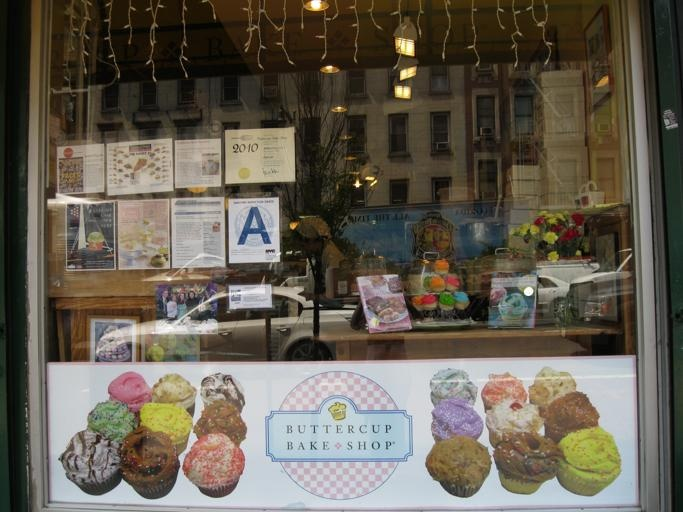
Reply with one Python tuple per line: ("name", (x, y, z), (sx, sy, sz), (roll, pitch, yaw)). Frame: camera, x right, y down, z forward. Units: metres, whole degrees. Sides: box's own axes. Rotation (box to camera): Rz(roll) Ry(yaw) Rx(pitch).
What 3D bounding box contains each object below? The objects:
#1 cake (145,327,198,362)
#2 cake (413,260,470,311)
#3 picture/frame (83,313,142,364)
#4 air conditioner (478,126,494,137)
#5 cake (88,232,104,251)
("cake", (-1.001, 0.526, 5.137), (0.243, 0.150, 0.173), (-1, 5, -2))
("cake", (0.637, 0.193, 5.492), (0.304, 0.319, 0.298), (-5, -3, 31))
("picture/frame", (-1.369, 0.506, 5.151), (0.402, 0.022, 0.498), (-5, 33, -17))
("air conditioner", (1.344, -1.170, 7.993), (0.133, 0.081, 0.094), (4, 2, 11))
("cake", (-1.492, -0.093, 5.269), (0.103, 0.115, 0.021), (0, -2, -40))
